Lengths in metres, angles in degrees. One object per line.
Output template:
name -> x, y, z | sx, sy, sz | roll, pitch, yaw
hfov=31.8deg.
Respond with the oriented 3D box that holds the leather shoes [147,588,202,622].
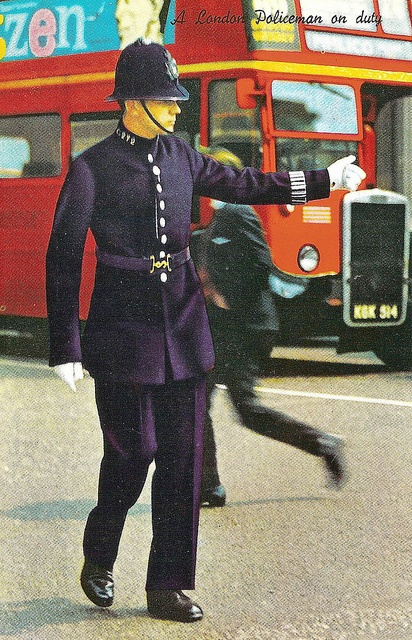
leather shoes -> -0.100, 0.883, 2.264 | 0.176, 0.096, 0.081 | 0, -2, -1
